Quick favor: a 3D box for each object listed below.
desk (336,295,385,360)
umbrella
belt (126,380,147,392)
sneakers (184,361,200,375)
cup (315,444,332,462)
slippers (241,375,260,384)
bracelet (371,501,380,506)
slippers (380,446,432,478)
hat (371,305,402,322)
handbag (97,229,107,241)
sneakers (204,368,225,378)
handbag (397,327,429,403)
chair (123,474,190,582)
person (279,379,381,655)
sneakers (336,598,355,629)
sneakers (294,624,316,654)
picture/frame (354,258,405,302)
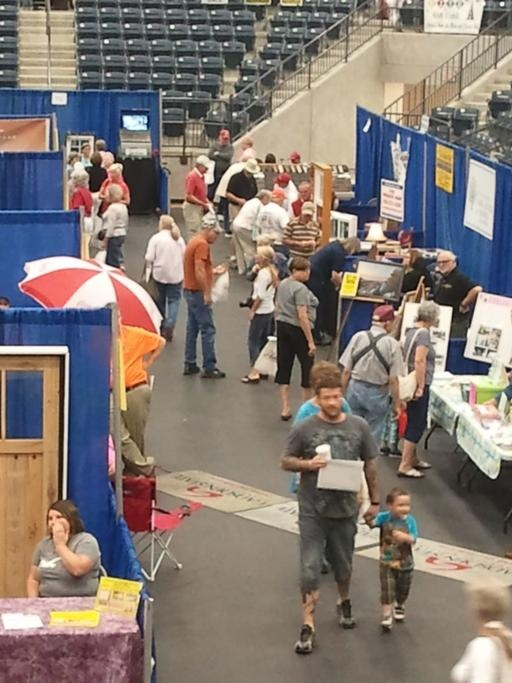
[{"bbox_3d":[0.992,-0.135,9.361,0.303,0.692,0.621,-5,14,-28],"label":"desk"},{"bbox_3d":[-1.097,-0.279,5.850,0.920,0.423,0.806,5,13,12],"label":"umbrella"},{"bbox_3d":[-0.715,0.266,5.480,0.045,0.040,0.173,11,16,34],"label":"belt"},{"bbox_3d":[-0.656,0.257,9.498,0.075,0.152,0.205,7,26,20],"label":"sneakers"},{"bbox_3d":[0.323,0.526,4.316,0.078,0.073,0.085,2,13,0],"label":"cup"},{"bbox_3d":[-0.055,0.386,9.240,0.137,0.049,0.082,1,5,-9],"label":"slippers"},{"bbox_3d":[0.622,0.837,4.663,0.033,0.009,0.034,-2,8,-14],"label":"bracelet"},{"bbox_3d":[1.214,0.911,7.099,0.137,0.183,0.442,5,10,22],"label":"slippers"},{"bbox_3d":[0.924,-0.197,6.454,0.118,0.101,0.188,19,29,35],"label":"hat"},{"bbox_3d":[-2.113,-1.485,12.432,0.132,0.144,0.141,3,7,-11],"label":"handbag"},{"bbox_3d":[-0.439,0.314,9.379,0.243,0.117,0.087,-1,8,-15],"label":"sneakers"},{"bbox_3d":[1.189,0.163,6.838,0.186,0.552,0.496,4,13,10],"label":"handbag"},{"bbox_3d":[-0.559,1.036,5.337,0.383,0.725,0.799,1,13,-3],"label":"chair"},{"bbox_3d":[0.395,0.820,4.508,0.520,1.449,0.425,-5,14,-29],"label":"person"},{"bbox_3d":[0.469,1.438,4.752,0.062,0.100,0.167,-1,1,-4],"label":"sneakers"},{"bbox_3d":[0.236,1.476,4.460,0.060,0.089,0.165,3,22,5],"label":"sneakers"},{"bbox_3d":[1.238,-0.611,9.063,0.395,0.348,0.041,9,-7,28],"label":"picture/frame"}]
